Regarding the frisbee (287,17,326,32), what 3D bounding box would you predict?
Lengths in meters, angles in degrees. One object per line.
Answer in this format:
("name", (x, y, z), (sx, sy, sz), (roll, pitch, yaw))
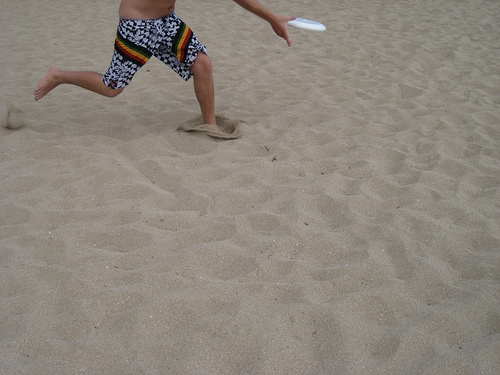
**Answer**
("frisbee", (0.500, -1.418, 4.253), (0.279, 0.052, 0.176), (13, 28, 9))
